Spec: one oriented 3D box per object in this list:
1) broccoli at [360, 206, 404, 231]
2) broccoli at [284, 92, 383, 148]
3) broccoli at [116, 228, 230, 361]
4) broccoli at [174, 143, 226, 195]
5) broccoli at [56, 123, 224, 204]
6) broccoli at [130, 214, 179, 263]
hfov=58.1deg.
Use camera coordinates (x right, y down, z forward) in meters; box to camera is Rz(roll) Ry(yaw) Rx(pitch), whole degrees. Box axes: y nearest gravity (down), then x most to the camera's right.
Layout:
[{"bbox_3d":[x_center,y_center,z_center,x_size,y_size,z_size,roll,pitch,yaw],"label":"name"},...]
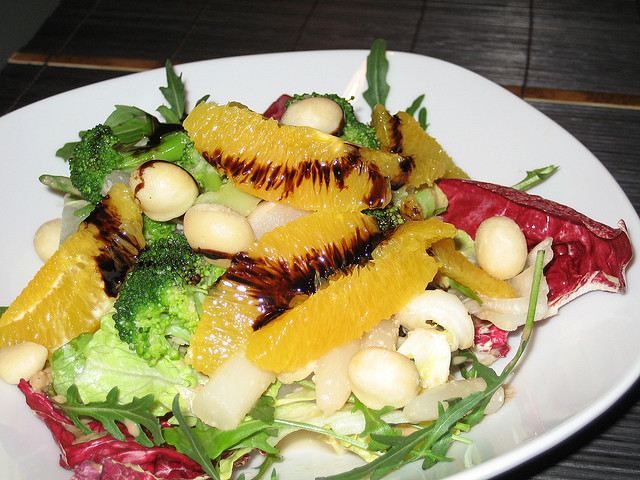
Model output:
[{"bbox_3d":[0.223,-0.083,2.034,0.095,0.037,0.101,7,29,0],"label":"broccoli"},{"bbox_3d":[0.068,-0.489,2.407,0.324,0.098,0.250,48,42,4],"label":"broccoli"},{"bbox_3d":[-0.550,0.208,2.110,0.399,0.197,0.436,-11,73,1],"label":"broccoli"},{"bbox_3d":[-0.452,-0.267,2.187,0.179,0.057,0.198,-3,73,-13],"label":"broccoli"},{"bbox_3d":[-0.697,-0.311,2.271,0.584,0.282,0.337,0,19,9],"label":"broccoli"},{"bbox_3d":[-0.630,-0.016,2.185,0.147,0.053,0.133,13,48,-19],"label":"broccoli"}]
